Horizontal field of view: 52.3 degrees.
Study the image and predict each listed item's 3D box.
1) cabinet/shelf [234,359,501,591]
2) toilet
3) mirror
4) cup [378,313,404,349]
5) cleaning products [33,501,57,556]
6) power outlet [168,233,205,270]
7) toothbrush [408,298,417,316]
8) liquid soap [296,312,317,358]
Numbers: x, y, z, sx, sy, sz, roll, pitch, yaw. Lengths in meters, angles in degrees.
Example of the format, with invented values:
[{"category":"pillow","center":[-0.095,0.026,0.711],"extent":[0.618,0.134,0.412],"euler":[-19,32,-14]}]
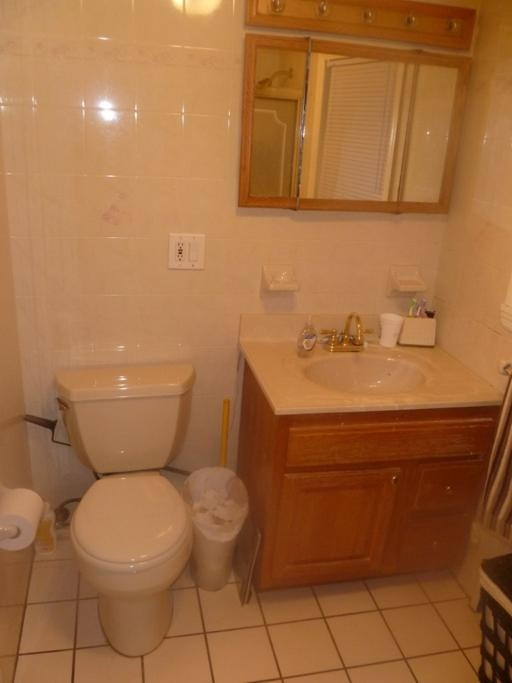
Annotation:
[{"category":"cabinet/shelf","center":[0.245,0.518,1.943],"extent":[0.964,1.053,0.615],"euler":[-3,28,-8]},{"category":"toilet","center":[-0.380,0.531,1.630],"extent":[0.392,0.753,0.557],"euler":[-4,22,-17]},{"category":"mirror","center":[0.298,-0.718,1.675],"extent":[0.515,0.433,0.066],"euler":[-2,31,-5]},{"category":"cup","center":[0.488,-0.043,1.948],"extent":[0.101,0.127,0.100],"euler":[4,10,-1]},{"category":"cleaning products","center":[-0.728,0.655,1.774],"extent":[0.048,0.131,0.042],"euler":[4,-6,-21]},{"category":"power outlet","center":[-0.237,-0.307,1.743],"extent":[0.101,0.116,0.012],"euler":[-1,18,-15]},{"category":"toothbrush","center":[0.590,-0.126,1.965],"extent":[0.028,0.063,0.106],"euler":[11,25,15]},{"category":"liquid soap","center":[0.174,-0.008,1.787],"extent":[0.059,0.109,0.079],"euler":[5,24,2]}]
